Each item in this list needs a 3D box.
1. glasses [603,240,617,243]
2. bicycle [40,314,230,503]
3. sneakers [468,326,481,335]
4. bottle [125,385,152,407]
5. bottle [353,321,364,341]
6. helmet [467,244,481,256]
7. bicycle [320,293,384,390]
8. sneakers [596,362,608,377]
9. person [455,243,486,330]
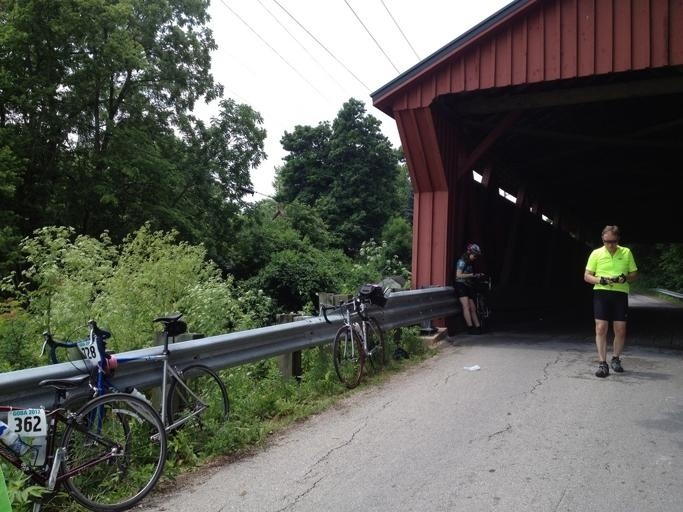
[{"bbox_3d":[4.477,-0.235,8.946,0.189,0.068,0.451,3,6,31],"label":"glasses"},{"bbox_3d":[-2.161,1.509,5.861,0.881,1.582,2.365,-6,-3,30],"label":"bicycle"},{"bbox_3d":[3.278,1.858,13.324,0.135,0.141,0.304,0,-10,-21],"label":"sneakers"},{"bbox_3d":[-2.118,1.511,5.800,0.133,0.180,0.540,5,-13,18],"label":"bottle"},{"bbox_3d":[0.266,1.205,8.731,0.047,0.221,0.218,-19,29,1],"label":"bottle"},{"bbox_3d":[3.132,-0.118,12.755,0.280,0.285,0.483,0,5,10],"label":"helmet"},{"bbox_3d":[0.159,1.268,8.766,0.599,1.449,1.537,2,6,27],"label":"bicycle"},{"bbox_3d":[4.237,1.867,8.750,0.123,0.186,0.395,-5,-15,30],"label":"sneakers"},{"bbox_3d":[3.087,0.799,13.095,0.613,2.175,0.990,1,5,15],"label":"person"}]
